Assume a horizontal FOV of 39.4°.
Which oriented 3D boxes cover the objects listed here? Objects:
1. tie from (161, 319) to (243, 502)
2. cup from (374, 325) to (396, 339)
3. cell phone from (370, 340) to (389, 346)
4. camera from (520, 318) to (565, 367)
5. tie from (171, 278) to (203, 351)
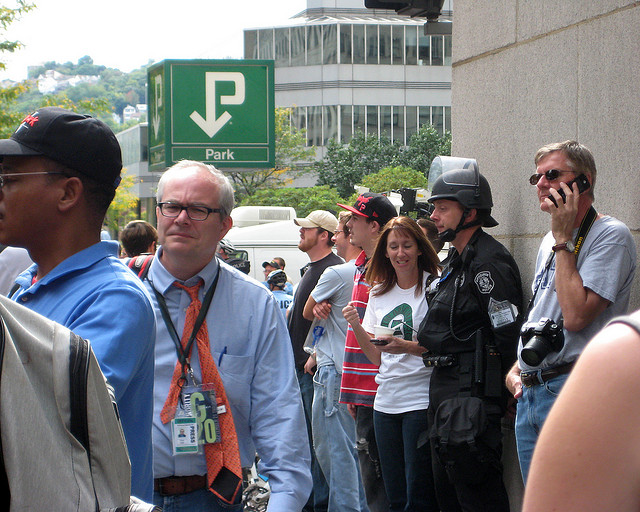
[{"bbox_3d":[-0.455,0.651,3.897,0.271,0.768,0.040,-7,-1,1],"label":"tie"},{"bbox_3d":[0.424,0.502,5.914,0.121,0.084,0.116,-1,3,0],"label":"cup"},{"bbox_3d":[0.397,0.567,5.875,0.105,0.047,0.062,-2,3,-7],"label":"cell phone"},{"bbox_3d":[1.161,0.446,4.716,0.235,0.156,0.258,-7,23,30],"label":"camera"},{"bbox_3d":[-0.585,0.260,4.094,0.146,0.261,0.185,0,12,-8],"label":"tie"}]
